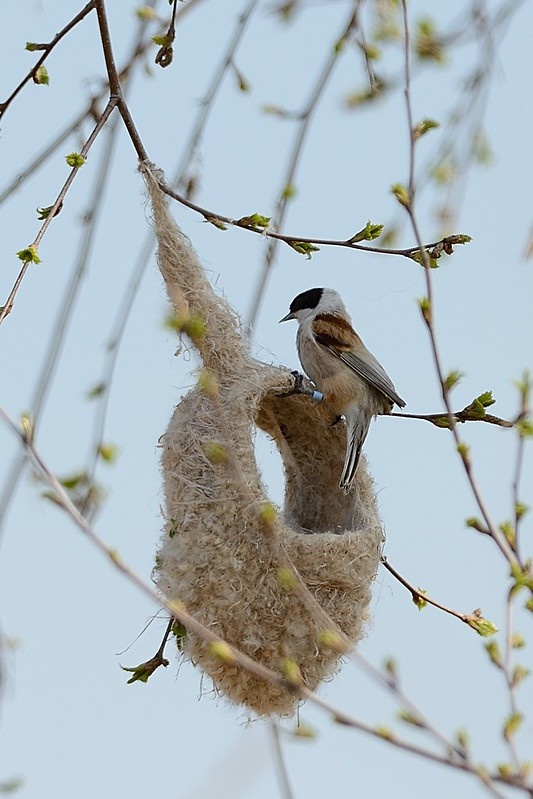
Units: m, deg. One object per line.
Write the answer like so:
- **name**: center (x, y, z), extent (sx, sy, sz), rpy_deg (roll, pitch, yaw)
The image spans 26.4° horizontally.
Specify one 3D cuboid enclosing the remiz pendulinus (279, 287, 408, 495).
- **remiz pendulinus**: center (0.197, -0.050, 3.071), extent (0.324, 0.175, 0.621), rpy_deg (-2, 57, 4)
